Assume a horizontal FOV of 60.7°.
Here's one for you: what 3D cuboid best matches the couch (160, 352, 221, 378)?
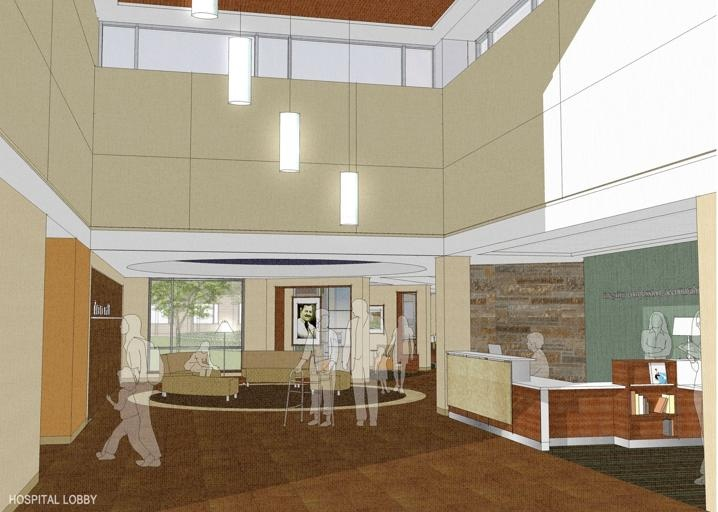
[{"bbox_3d":[-4.870,3.081,17.494,1.503,0.689,1.125,0,-8,9],"label":"couch"}]

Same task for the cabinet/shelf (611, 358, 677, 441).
[{"bbox_3d":[5.182,2.523,10.818,1.141,1.333,0.347,2,-7,-7],"label":"cabinet/shelf"}]
